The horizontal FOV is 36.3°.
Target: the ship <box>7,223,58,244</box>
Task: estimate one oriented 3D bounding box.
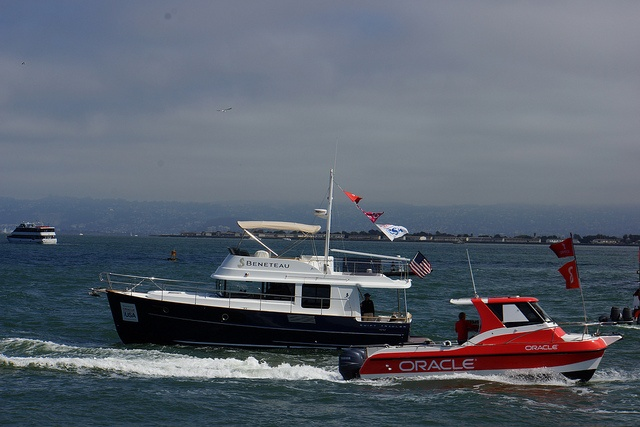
[{"bbox_3d":[-53.962,3.596,173.890,12.271,3.427,3.247,3,0,22],"label":"ship"}]
